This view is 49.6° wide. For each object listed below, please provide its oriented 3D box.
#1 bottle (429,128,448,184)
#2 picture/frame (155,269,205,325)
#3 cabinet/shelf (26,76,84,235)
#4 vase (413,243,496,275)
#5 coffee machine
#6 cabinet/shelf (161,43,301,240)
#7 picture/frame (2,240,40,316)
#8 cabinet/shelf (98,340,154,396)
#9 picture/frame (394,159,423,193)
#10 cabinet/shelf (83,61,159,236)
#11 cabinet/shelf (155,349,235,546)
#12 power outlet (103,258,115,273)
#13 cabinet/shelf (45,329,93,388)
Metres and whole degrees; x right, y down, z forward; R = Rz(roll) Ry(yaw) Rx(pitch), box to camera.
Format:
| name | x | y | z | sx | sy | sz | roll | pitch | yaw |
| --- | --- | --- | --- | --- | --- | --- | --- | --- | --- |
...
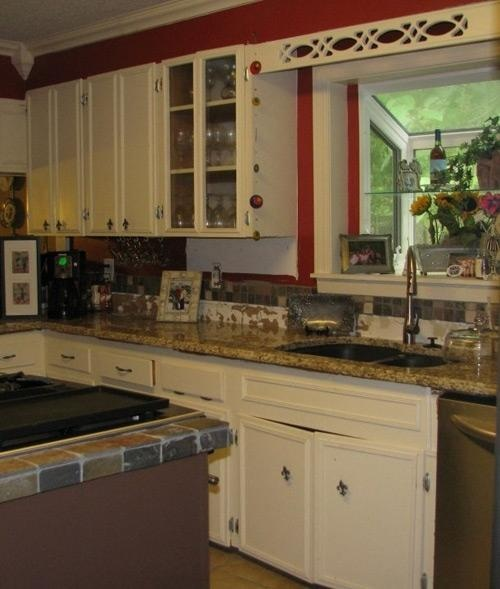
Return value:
| name | x | y | z | sx | sy | sz | roll | pitch | yaw |
| --- | --- | --- | --- | --- | --- | --- | --- | --- | --- |
| bottle | 0.892 | -0.642 | 2.524 | 0.053 | 0.272 | 0.078 | 9 | 1 | -28 |
| picture/frame | -0.417 | 0.028 | 3.317 | 0.365 | 0.389 | 0.032 | 3 | -6 | 15 |
| cabinet/shelf | -1.381 | -0.935 | 3.801 | 0.713 | 0.987 | 0.185 | 10 | 1 | 39 |
| vase | 0.924 | -0.149 | 2.403 | 0.257 | 0.081 | 0.162 | 1 | 3 | 35 |
| coffee machine | -1.249 | -0.062 | 3.673 | 0.306 | 0.428 | 0.413 | 9 | 1 | -16 |
| cabinet/shelf | -0.142 | -0.797 | 2.972 | 0.852 | 0.990 | 0.377 | 10 | 1 | 22 |
| picture/frame | -1.534 | -0.108 | 3.603 | 0.284 | 0.480 | 0.138 | 9 | 1 | -20 |
| cabinet/shelf | -0.666 | 0.411 | 2.903 | 0.327 | 0.131 | 0.229 | 4 | 3 | 38 |
| picture/frame | 0.783 | -0.575 | 2.649 | 0.131 | 0.170 | 0.138 | 10 | 1 | 16 |
| cabinet/shelf | -0.820 | -0.877 | 3.385 | 0.731 | 0.986 | 0.198 | 10 | 1 | 41 |
| cabinet/shelf | -0.302 | 0.752 | 2.641 | 0.578 | 0.868 | 0.158 | 10 | 1 | 33 |
| power outlet | -1.030 | -0.208 | 3.932 | 0.093 | 0.152 | 0.088 | -3 | 10 | -17 |
| cabinet/shelf | -0.986 | 0.351 | 2.980 | 0.355 | 0.195 | 0.213 | 5 | 11 | 39 |
